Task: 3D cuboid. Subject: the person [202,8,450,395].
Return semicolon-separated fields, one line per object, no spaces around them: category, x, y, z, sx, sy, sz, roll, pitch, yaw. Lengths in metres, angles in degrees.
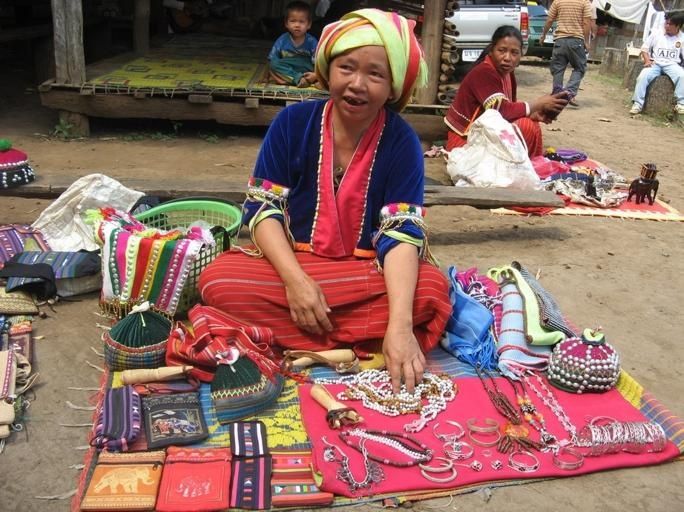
person;0.012;-0.336;2.847;1.233;1.731;0.785;7;23;10

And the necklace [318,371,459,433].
necklace;0.287;0.713;2.743;0.420;0.051;0.328;-9;27;-16

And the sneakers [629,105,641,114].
sneakers;4.930;-2.453;9.354;0.118;0.122;0.295;19;26;41

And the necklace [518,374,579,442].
necklace;1.033;0.725;2.754;0.106;0.015;0.293;-1;35;-12

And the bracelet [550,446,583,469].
bracelet;0.999;0.901;2.477;0.135;0.048;0.105;0;20;-6

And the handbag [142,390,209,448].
handbag;-0.761;0.745;2.530;0.261;0.098;0.284;-5;21;-19

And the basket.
basket;-1.014;-0.053;3.377;0.725;0.437;0.921;16;21;13

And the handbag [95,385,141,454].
handbag;-1.005;0.718;2.492;0.198;0.086;0.277;12;43;-21

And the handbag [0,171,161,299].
handbag;-1.722;-0.151;3.637;0.739;0.387;0.919;10;18;27

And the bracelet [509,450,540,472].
bracelet;0.804;0.910;2.458;0.125;0.031;0.128;15;23;32

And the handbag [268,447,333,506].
handbag;-0.177;0.944;2.365;0.247;0.093;0.256;0;20;-8

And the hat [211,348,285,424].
hat;-0.465;0.622;2.704;0.447;0.118;0.400;-18;24;-18

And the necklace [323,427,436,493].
necklace;0.147;0.877;2.452;0.342;0.044;0.231;7;30;17

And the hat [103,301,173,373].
hat;-0.964;0.433;2.861;0.382;0.244;0.343;5;25;-1

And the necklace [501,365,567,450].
necklace;0.939;0.732;2.726;0.138;0.028;0.382;11;22;-12

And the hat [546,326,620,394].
hat;1.257;0.552;2.895;0.412;0.280;0.262;1;10;-16
